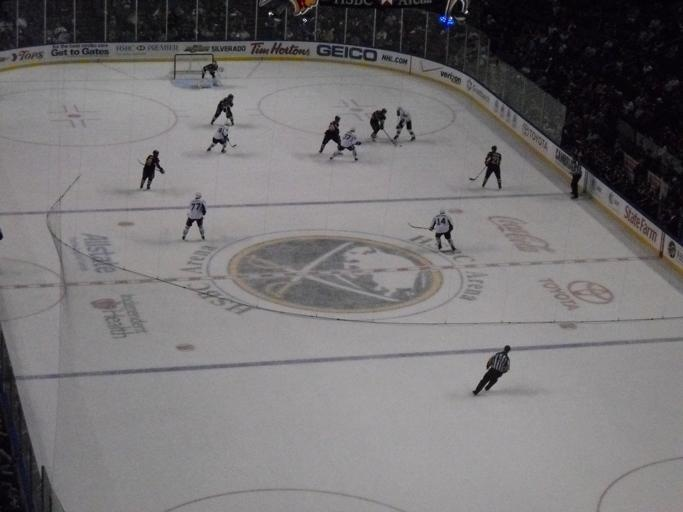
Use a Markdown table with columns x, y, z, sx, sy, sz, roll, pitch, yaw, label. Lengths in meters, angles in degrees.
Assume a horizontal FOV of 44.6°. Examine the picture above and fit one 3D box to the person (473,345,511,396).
| x | y | z | sx | sy | sz | roll | pitch | yaw | label |
| --- | --- | --- | --- | --- | --- | --- | --- | --- | --- |
| 2.390 | 1.766 | 12.890 | 0.357 | 0.267 | 0.923 | 10 | 47 | 37 | person |
